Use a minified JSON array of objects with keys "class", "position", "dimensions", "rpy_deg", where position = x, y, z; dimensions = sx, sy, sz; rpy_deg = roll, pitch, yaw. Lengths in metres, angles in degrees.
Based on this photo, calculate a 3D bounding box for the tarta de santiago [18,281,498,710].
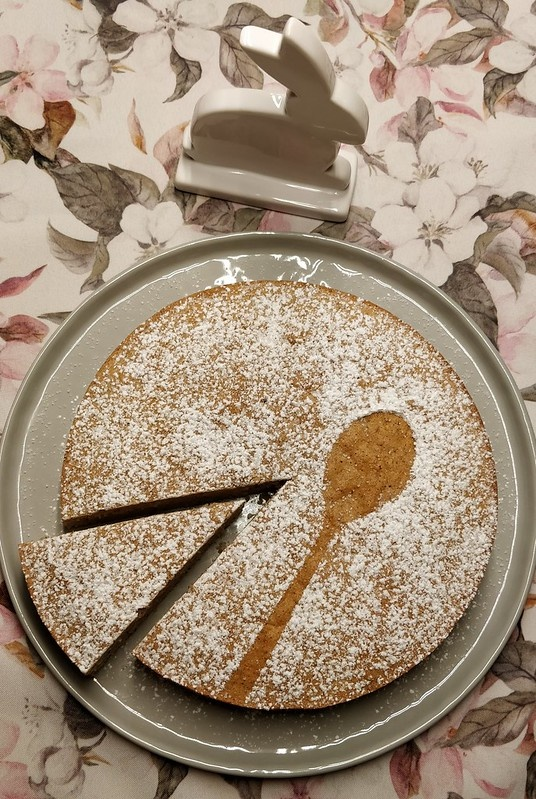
[{"class":"tarta de santiago","position":[0.021,0.151,1.552],"dimensions":[0.769,0.078,0.781],"rpy_deg":[-37,79,-11]}]

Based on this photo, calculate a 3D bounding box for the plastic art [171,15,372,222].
[{"class":"plastic art","position":[0.006,-0.518,1.539],"dimensions":[0.348,0.368,0.138],"rpy_deg":[12,61,4]}]
